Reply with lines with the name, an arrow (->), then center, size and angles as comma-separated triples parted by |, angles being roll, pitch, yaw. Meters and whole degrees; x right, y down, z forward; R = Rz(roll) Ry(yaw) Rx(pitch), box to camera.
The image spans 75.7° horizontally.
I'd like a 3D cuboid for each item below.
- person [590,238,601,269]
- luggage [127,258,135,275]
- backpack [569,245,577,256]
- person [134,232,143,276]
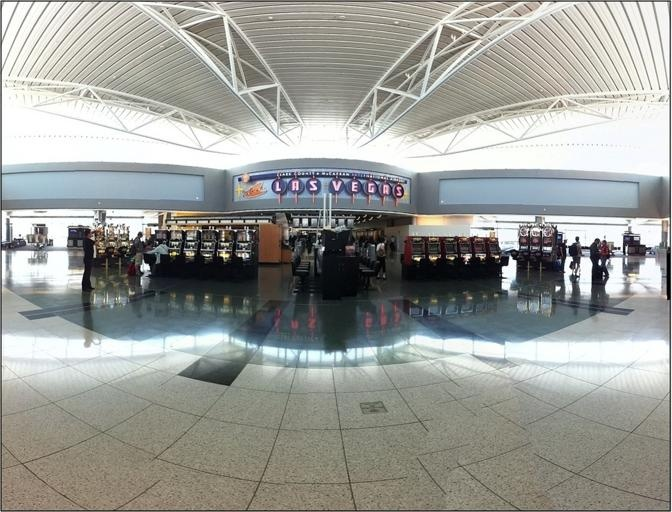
person -> 7.656, -0.078, 12.788 | 0.250, 1.017, 0.793 | 8, 16, 30
luggage -> -5.990, 0.312, 12.750 | 0.211, 0.398, 0.674 | -6, 16, -26
backpack -> 7.371, -0.172, 13.551 | 0.268, 0.353, 0.104 | 6, -9, -31
person -> -5.827, -0.057, 12.865 | 0.270, 1.219, 0.843 | -5, 15, -20
